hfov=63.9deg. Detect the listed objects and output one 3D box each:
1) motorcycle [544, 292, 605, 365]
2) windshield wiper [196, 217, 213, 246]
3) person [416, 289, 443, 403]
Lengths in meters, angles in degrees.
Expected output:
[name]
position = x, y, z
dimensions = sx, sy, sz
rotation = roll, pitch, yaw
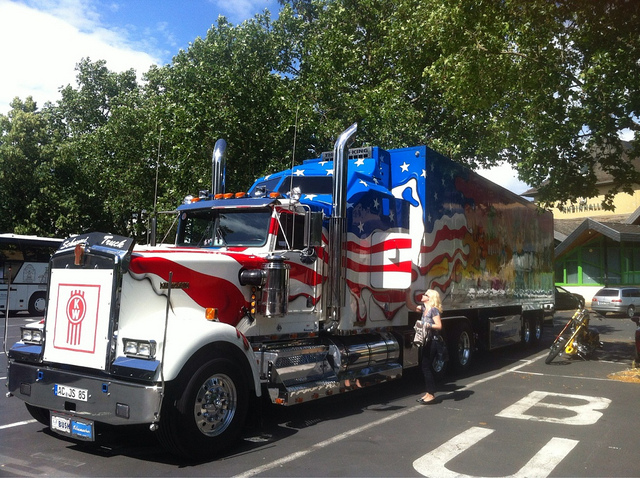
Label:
[motorcycle]
position = 7.499, 2.749, 15.146
dimensions = 2.501, 1.705, 0.693
rotation = 3, -2, -40
[windshield wiper]
position = -2.003, -0.130, 8.994
dimensions = 0.061, 0.582, 0.076
rotation = 41, -35, -23
[person]
position = 2.182, 2.096, 10.140
dimensions = 0.585, 2.097, 0.551
rotation = 2, 2, 44
